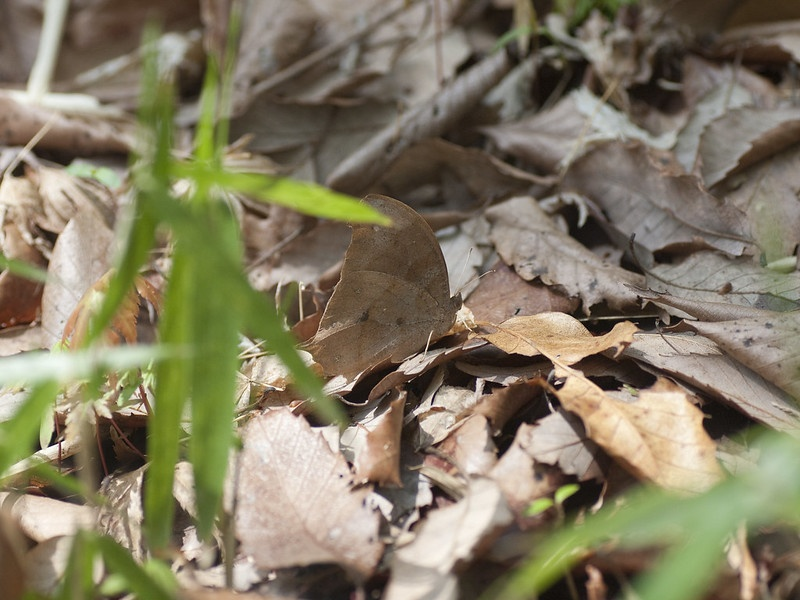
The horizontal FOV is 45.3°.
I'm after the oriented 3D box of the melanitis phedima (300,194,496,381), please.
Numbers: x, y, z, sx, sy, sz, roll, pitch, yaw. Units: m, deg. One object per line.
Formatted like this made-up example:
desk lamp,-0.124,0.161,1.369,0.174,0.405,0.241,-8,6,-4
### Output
melanitis phedima,-0.027,-0.007,2.142,0.371,0.369,0.251,-39,90,-11
